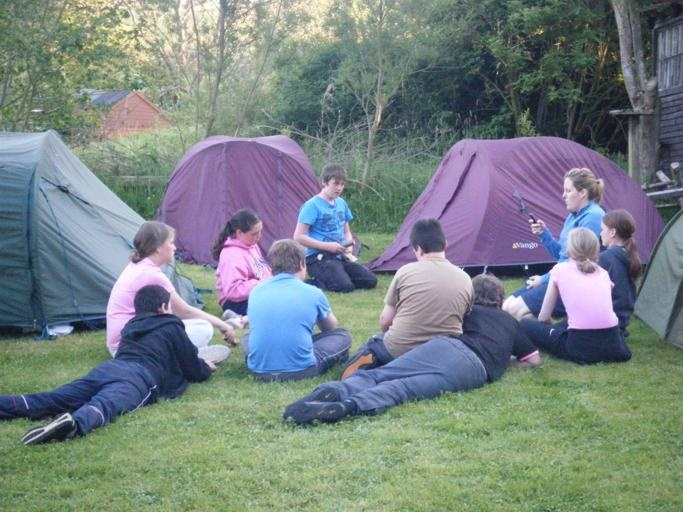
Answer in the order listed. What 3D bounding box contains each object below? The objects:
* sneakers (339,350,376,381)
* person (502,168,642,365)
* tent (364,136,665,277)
[{"bbox_3d":[0.152,1.068,8.544,0.451,0.157,0.180,-38,19,-2],"label":"sneakers"},{"bbox_3d":[2.620,0.078,9.341,1.159,2.072,0.905,-2,2,-35],"label":"person"},{"bbox_3d":[2.678,-0.800,12.382,2.858,1.406,2.146,-1,1,-12],"label":"tent"}]
